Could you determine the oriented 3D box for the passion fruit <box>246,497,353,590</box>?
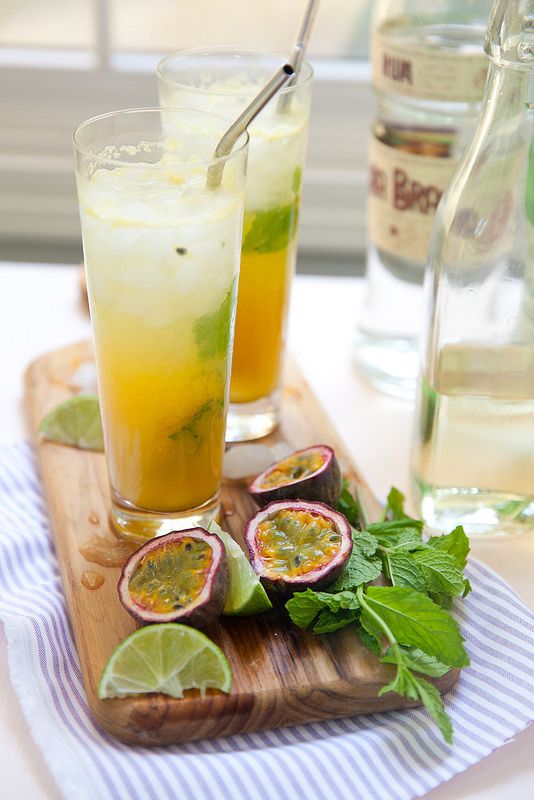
[{"bbox_3d":[0.024,0.115,0.584,0.077,0.033,0.084,-10,34,-22],"label":"passion fruit"}]

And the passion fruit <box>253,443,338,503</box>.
[{"bbox_3d":[0.034,0.068,0.673,0.061,0.038,0.061,-9,22,43],"label":"passion fruit"}]

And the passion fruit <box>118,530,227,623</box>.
[{"bbox_3d":[-0.058,0.128,0.562,0.069,0.041,0.067,-5,41,33],"label":"passion fruit"}]
